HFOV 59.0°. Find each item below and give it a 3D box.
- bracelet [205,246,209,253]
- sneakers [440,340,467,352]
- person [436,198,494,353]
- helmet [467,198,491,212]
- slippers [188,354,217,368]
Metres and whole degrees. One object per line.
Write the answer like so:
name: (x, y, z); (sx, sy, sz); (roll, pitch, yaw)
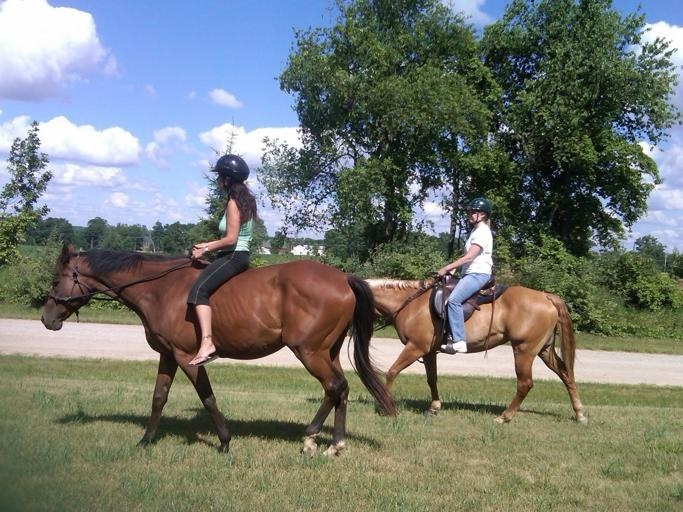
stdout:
bracelet: (-2.165, -0.114, 9.677); (0.045, 0.074, 0.070); (-1, 4, -18)
sneakers: (2.204, 1.729, 11.696); (0.355, 0.278, 0.228); (3, -6, 12)
person: (2.473, 0.435, 11.840); (1.205, 3.088, 0.550); (-5, 9, -42)
helmet: (2.779, -1.018, 12.064); (0.439, 0.250, 0.382); (5, 1, 4)
slippers: (-2.181, 1.659, 9.522); (0.428, 0.227, 0.326); (-1, 7, -14)
